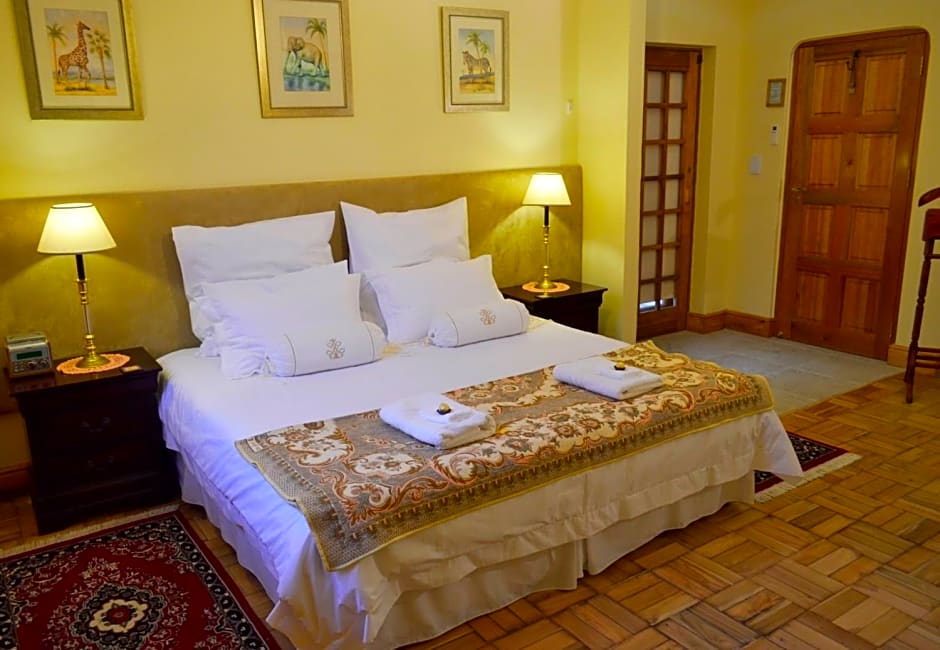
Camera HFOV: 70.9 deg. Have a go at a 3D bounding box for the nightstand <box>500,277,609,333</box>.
[{"bbox_3d":[0.669,-0.251,5.206,0.629,0.606,0.442,-20,30,-39],"label":"nightstand"}]

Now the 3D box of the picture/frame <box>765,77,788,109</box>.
[{"bbox_3d":[2.748,-2.074,5.929,0.035,0.320,0.262,-8,16,-35],"label":"picture/frame"}]

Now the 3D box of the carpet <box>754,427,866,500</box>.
[{"bbox_3d":[2.221,0.934,4.240,0.016,0.503,0.767,20,-20,-11],"label":"carpet"}]

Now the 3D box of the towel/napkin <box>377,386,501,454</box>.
[{"bbox_3d":[-0.165,0.453,3.216,0.510,0.130,0.335,13,24,43],"label":"towel/napkin"}]

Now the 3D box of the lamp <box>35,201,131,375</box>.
[{"bbox_3d":[-2.215,-0.216,3.767,0.436,0.910,0.512,-13,20,-25],"label":"lamp"}]

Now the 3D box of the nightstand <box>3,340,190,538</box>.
[{"bbox_3d":[-2.115,0.583,4.122,1.124,1.249,0.863,-11,19,-33],"label":"nightstand"}]

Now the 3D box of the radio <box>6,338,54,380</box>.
[{"bbox_3d":[-2.436,0.161,3.702,0.253,0.224,0.215,-8,11,-41],"label":"radio"}]

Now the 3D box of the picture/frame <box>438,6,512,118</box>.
[{"bbox_3d":[0.007,-2.001,4.988,0.839,0.930,0.044,-7,14,-35],"label":"picture/frame"}]
